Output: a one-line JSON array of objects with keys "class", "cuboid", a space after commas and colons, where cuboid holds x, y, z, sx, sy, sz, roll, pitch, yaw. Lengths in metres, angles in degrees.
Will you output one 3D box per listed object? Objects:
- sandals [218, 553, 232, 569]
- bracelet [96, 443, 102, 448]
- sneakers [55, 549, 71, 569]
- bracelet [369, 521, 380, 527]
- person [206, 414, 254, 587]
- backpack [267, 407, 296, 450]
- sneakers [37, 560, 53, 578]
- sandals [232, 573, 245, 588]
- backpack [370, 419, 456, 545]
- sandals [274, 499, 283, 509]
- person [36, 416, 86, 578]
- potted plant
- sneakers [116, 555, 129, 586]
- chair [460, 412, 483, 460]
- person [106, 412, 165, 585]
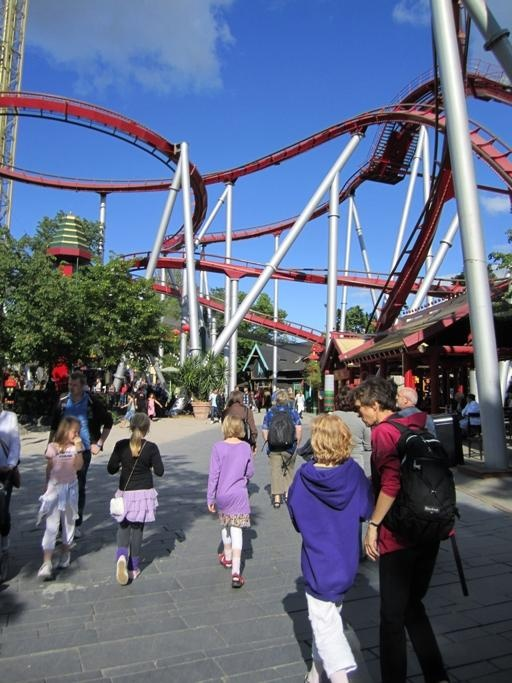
[{"class": "sandals", "cuboid": [-0.251, 1.775, 4.255, 0.053, 0.056, 0.145, 4, 0, -13]}, {"class": "bracelet", "cuboid": [-1.479, 0.977, 4.928, 0.041, 0.055, 0.028, -5, -6, -11]}, {"class": "sneakers", "cuboid": [-1.539, 1.734, 4.184, 0.103, 0.100, 0.235, 0, -13, -11]}, {"class": "bracelet", "cuboid": [0.503, 0.778, 2.229, 0.027, 0.015, 0.038, 6, -1, -6]}, {"class": "person", "cuboid": [-0.200, 1.196, 4.161, 0.350, 1.218, 0.877, 0, -6, -1]}, {"class": "backpack", "cuboid": [0.296, 1.045, 6.210, 0.409, 0.580, 0.319, 1, -39, 2]}, {"class": "sneakers", "cuboid": [-1.555, 1.686, 3.860, 0.094, 0.143, 0.166, 3, -7, -26]}, {"class": "sandals", "cuboid": [-0.137, 1.701, 3.720, 0.046, 0.057, 0.125, 1, -5, 2]}, {"class": "backpack", "cuboid": [0.666, 0.623, 2.242, 0.339, 0.577, 0.231, -3, -7, 25]}, {"class": "sandals", "cuboid": [0.255, 1.940, 6.311, 0.121, 0.113, 0.197, 2, -8, 3]}, {"class": "person", "cuboid": [-1.523, 1.190, 4.085, 0.290, 1.183, 0.461, 3, -7, -21]}, {"class": "potted plant", "cuboid": [-2.000, 1.673, 21.526, 1.896, 2.050, 1.903, -14, 21, -38]}, {"class": "sneakers", "cuboid": [-0.957, 1.620, 3.759, 0.103, 0.257, 0.109, -1, -6, -2]}, {"class": "chair", "cuboid": [4.281, 1.840, 10.247, 0.384, 0.914, 0.337, -3, -15, 24]}, {"class": "person", "cuboid": [-0.927, 1.166, 4.003, 0.397, 1.230, 0.504, 2, -6, -15]}]
